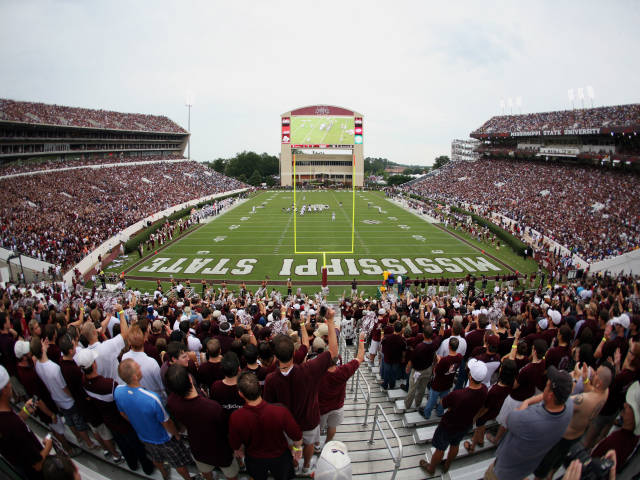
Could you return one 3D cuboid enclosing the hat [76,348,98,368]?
[{"bbox_3d":[-2.488,1.264,4.349,0.162,0.233,0.169,-5,10,-36],"label":"hat"}]

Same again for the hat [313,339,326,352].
[{"bbox_3d":[-0.005,1.180,4.541,0.146,0.161,0.173,1,8,0],"label":"hat"}]

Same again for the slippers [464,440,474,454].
[{"bbox_3d":[1.903,2.635,5.175,0.065,0.046,0.128,-13,32,18],"label":"slippers"}]

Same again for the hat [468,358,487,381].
[{"bbox_3d":[1.754,1.469,4.555,0.189,0.296,0.214,4,9,20],"label":"hat"}]

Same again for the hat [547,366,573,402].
[{"bbox_3d":[2.287,1.407,3.896,0.207,0.341,0.221,6,10,30],"label":"hat"}]

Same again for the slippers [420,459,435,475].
[{"bbox_3d":[1.285,2.732,4.884,0.070,0.081,0.178,44,6,-40],"label":"slippers"}]

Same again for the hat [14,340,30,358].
[{"bbox_3d":[-3.366,1.247,4.615,0.129,0.205,0.303,-5,11,-38],"label":"hat"}]
